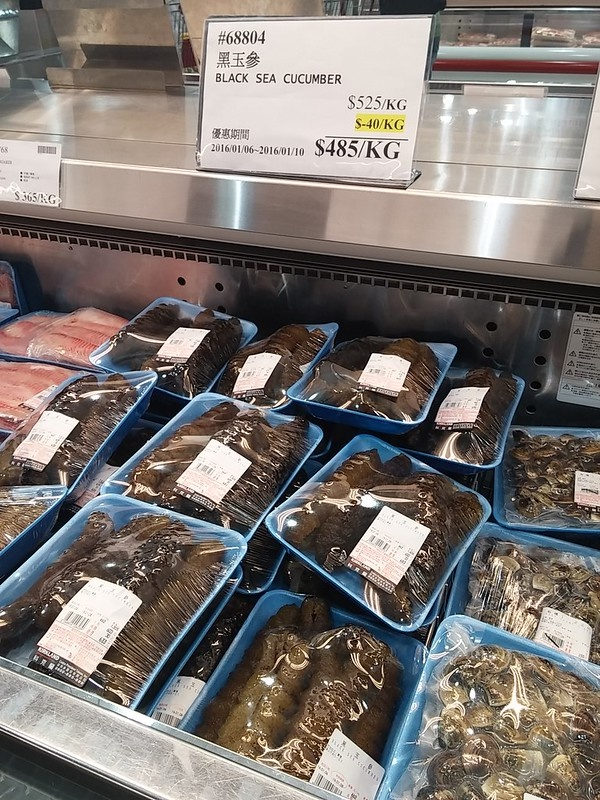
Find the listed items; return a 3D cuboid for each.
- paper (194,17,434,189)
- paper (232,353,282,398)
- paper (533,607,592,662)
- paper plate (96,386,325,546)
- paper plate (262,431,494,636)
[{"bbox_3d":[0.004,-0.398,0.726,0.327,0.201,0.069,18,30,30],"label":"paper"},{"bbox_3d":[-0.084,-0.050,1.074,0.073,0.024,0.099,0,57,35],"label":"paper"},{"bbox_3d":[0.356,0.313,0.731,0.054,0.013,0.056,15,38,22],"label":"paper"},{"bbox_3d":[-0.116,0.066,0.916,0.223,0.073,0.277,16,38,20],"label":"paper plate"},{"bbox_3d":[0.118,0.198,0.788,0.273,0.070,0.265,28,54,33],"label":"paper plate"}]
